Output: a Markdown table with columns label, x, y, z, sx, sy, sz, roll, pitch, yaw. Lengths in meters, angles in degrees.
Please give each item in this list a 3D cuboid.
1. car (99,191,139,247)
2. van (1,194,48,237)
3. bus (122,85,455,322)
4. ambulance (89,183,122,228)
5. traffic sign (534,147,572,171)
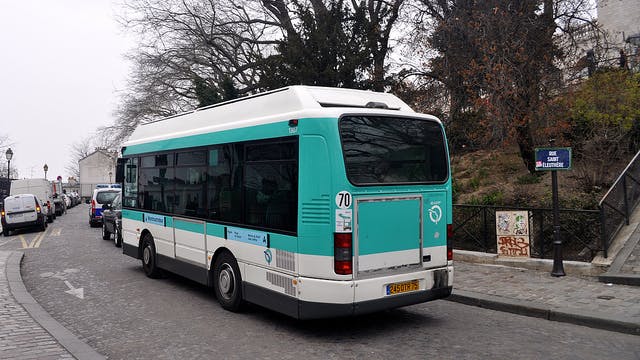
| label | x | y | z | sx | sy | sz | roll | pitch | yaw |
| --- | --- | --- | --- | --- | --- | --- | --- | --- | --- |
| car | -9.628 | 1.940 | 22.273 | 2.675 | 2.617 | 4.959 | 0 | 0 | -35 |
| van | -18.618 | 2.168 | 27.111 | 1.842 | 2.266 | 3.614 | 0 | -1 | -28 |
| bus | -2.345 | 0.557 | 15.841 | 5.596 | 5.394 | 14.146 | 1 | -1 | -41 |
| ambulance | -14.460 | 1.785 | 29.154 | 2.550 | 2.636 | 4.534 | 0 | 1 | -17 |
| traffic sign | 7.209 | -0.601 | 13.337 | 0.115 | 0.742 | 1.155 | -29 | -16 | 36 |
